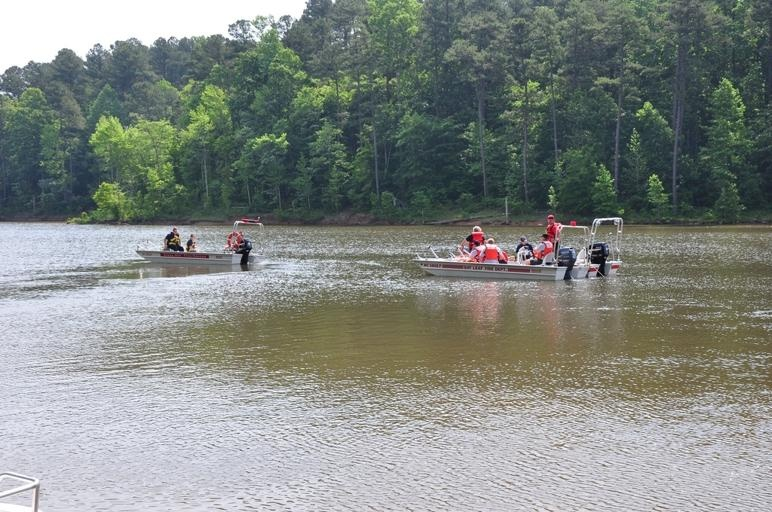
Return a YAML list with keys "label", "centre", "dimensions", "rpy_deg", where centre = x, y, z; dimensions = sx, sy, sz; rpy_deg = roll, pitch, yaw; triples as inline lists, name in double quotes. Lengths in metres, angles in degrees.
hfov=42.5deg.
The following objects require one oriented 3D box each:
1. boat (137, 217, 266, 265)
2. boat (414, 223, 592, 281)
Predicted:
- label: "boat"
  centre: [-11.876, -0.929, 63.837]
  dimensions: [7.409, 3.202, 2.239]
  rpy_deg: [2, 14, 11]
- label: "boat"
  centre: [6.532, -0.089, 56.379]
  dimensions: [9.523, 2.473, 3.643]
  rpy_deg: [-1, 1, 25]
